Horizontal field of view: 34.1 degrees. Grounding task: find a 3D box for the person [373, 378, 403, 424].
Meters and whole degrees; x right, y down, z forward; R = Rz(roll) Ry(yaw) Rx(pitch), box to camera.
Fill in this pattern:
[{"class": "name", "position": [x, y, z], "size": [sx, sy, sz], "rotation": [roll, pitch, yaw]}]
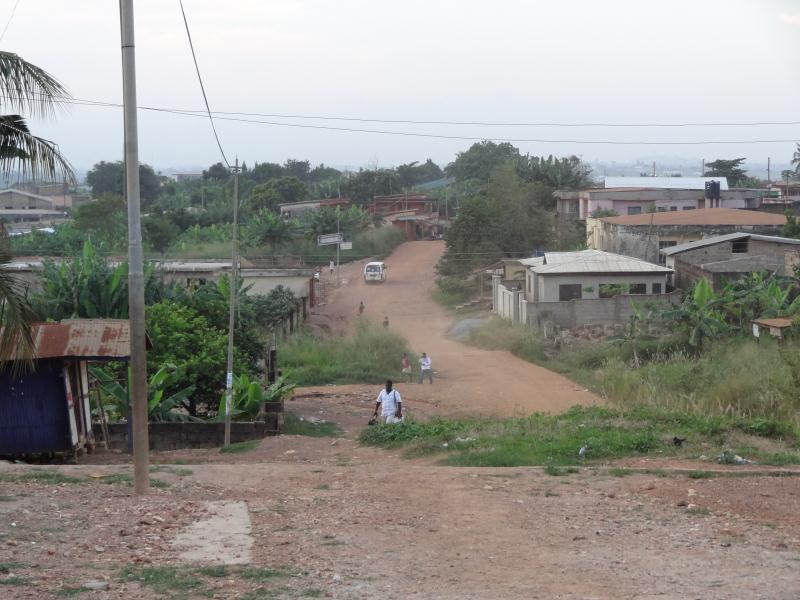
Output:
[{"class": "person", "position": [-0.376, 3.197, 41.201], "size": [1.262, 0.726, 2.489], "rotation": [-7, 20, 0]}]
